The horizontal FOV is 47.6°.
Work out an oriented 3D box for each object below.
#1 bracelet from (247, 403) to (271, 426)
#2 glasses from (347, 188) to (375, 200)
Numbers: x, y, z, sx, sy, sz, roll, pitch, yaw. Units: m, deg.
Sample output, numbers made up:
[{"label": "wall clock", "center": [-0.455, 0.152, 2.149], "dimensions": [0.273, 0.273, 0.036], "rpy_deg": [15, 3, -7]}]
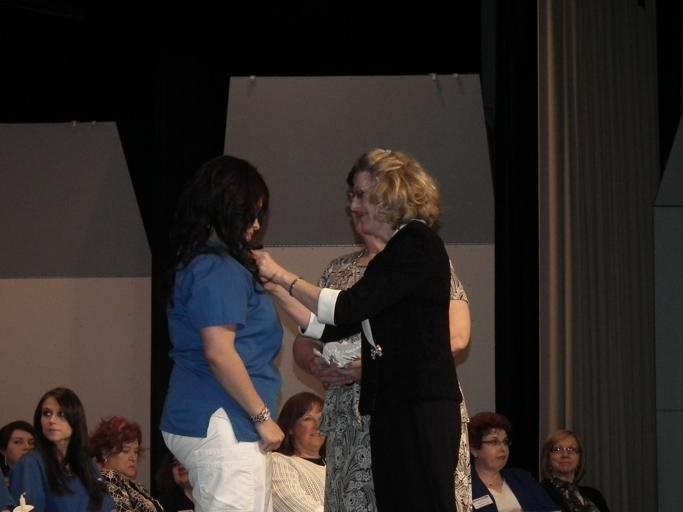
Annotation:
[{"label": "bracelet", "center": [-0.330, 0.641, 3.121], "dimensions": [0.071, 0.049, 0.066], "rpy_deg": [-8, 22, 46]}, {"label": "glasses", "center": [0.090, -0.275, 3.418], "dimensions": [0.069, 0.046, 0.100], "rpy_deg": [-2, -7, 12]}]
